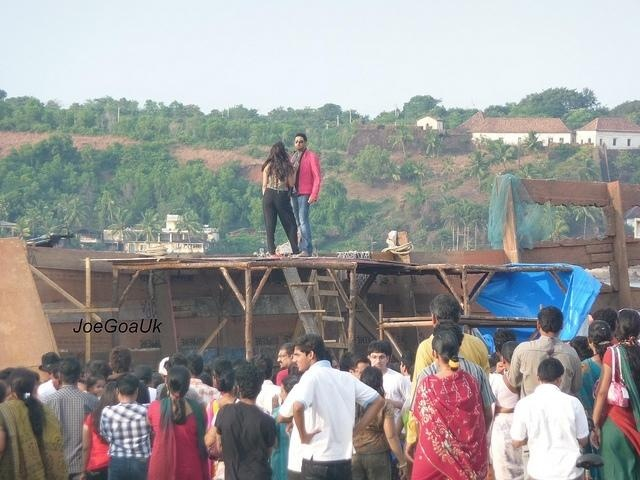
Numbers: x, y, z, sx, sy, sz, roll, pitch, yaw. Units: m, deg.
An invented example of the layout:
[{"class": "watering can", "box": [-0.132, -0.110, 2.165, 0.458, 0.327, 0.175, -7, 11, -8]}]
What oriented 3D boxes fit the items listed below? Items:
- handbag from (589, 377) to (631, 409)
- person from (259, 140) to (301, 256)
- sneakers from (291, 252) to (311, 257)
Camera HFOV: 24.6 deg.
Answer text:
[{"class": "handbag", "box": [5.695, 3.085, 29.058, 0.740, 0.798, 0.434, 1, -8, -4]}, {"class": "person", "box": [-0.983, -0.930, 33.898, 0.785, 2.622, 0.798, -6, -6, 14]}, {"class": "sneakers", "box": [-0.453, 0.363, 33.981, 0.423, 0.185, 0.143, 8, -9, -41]}]
